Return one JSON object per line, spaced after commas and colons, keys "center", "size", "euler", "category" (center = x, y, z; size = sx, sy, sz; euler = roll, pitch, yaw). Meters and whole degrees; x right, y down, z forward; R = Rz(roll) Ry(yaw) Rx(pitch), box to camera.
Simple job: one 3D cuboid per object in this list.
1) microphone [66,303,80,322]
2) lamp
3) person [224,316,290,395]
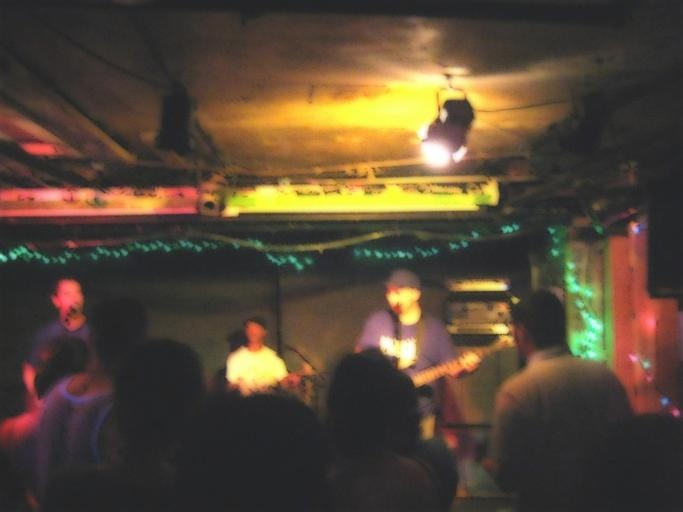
{"center": [-2.769, 0.590, 8.575], "size": [0.106, 0.129, 0.053], "euler": [16, -39, -25], "category": "microphone"}
{"center": [0.909, -1.052, 7.088], "size": [0.478, 0.437, 0.680], "euler": [-4, -7, 6], "category": "lamp"}
{"center": [-0.847, 1.073, 8.178], "size": [0.890, 0.905, 0.630], "euler": [-2, -24, -7], "category": "person"}
